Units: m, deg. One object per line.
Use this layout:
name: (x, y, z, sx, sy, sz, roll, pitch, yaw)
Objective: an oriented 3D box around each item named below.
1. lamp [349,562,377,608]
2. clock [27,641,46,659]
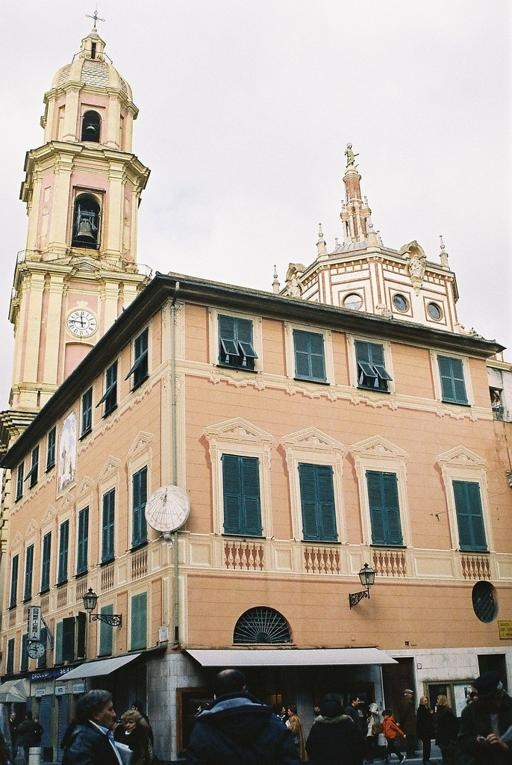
lamp: (2.461, 4.536, 18.423, 0.703, 0.882, 0.901, 1, -27, -12)
clock: (-6.454, 7.792, 24.020, 0.335, 0.468, 0.733, -24, -32, 33)
